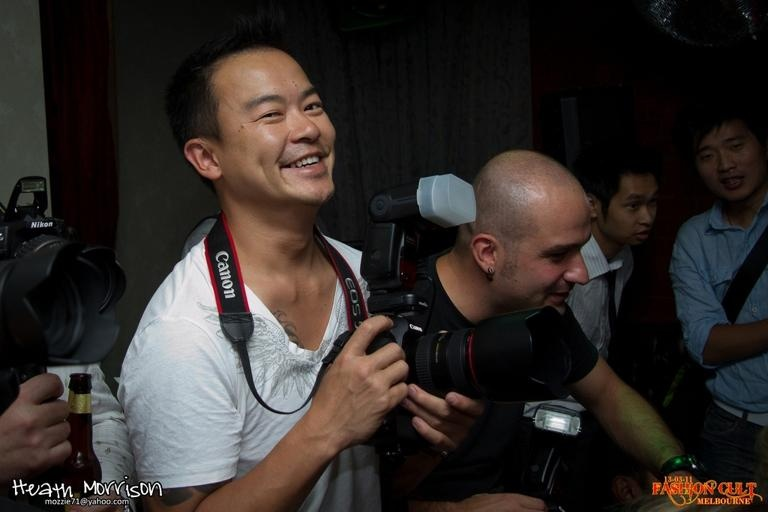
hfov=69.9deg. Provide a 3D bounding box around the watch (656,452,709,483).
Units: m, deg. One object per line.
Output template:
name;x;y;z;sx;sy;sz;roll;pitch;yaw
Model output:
watch;0.913;0.647;1.696;0.110;0.070;0.112;-1;-42;6

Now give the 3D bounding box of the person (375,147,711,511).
person;0.643;0.276;2.533;1.167;1.536;1.170;-6;-2;21

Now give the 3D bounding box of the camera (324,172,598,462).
camera;0.201;0.133;1.597;0.660;0.708;0.472;-2;-4;24
